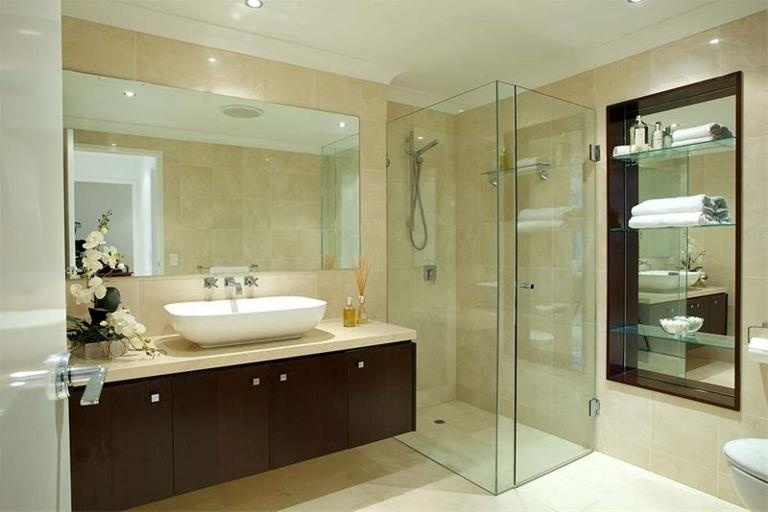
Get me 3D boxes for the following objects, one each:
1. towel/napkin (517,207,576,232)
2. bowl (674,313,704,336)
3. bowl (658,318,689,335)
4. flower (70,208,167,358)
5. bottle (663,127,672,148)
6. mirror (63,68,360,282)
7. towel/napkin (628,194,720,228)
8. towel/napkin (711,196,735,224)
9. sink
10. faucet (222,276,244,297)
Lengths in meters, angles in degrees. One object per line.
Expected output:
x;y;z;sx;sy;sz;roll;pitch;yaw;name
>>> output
1.139;-0.264;3.970;0.548;0.168;0.033;-4;3;-34;towel/napkin
2.051;0.465;3.777;0.122;0.085;0.123;-1;-1;0;bowl
1.989;0.479;3.872;0.118;0.065;0.116;-1;-3;0;bowl
-1.642;0.159;3.439;0.807;0.785;0.448;-7;-13;22;flower
1.909;-0.809;3.811;0.051;0.155;0.081;-1;3;26;bottle
-1.222;-0.548;3.765;1.673;0.958;0.028;1;2;-29;mirror
1.959;-0.301;3.790;0.143;0.198;0.597;-4;3;-37;towel/napkin
2.153;-0.293;3.599;0.112;0.175;0.048;-2;3;4;towel/napkin
-0.883;0.409;3.617;0.937;0.240;0.630;-3;2;-21;sink
-1.030;0.208;3.849;0.119;0.168;0.139;1;-2;-43;faucet
